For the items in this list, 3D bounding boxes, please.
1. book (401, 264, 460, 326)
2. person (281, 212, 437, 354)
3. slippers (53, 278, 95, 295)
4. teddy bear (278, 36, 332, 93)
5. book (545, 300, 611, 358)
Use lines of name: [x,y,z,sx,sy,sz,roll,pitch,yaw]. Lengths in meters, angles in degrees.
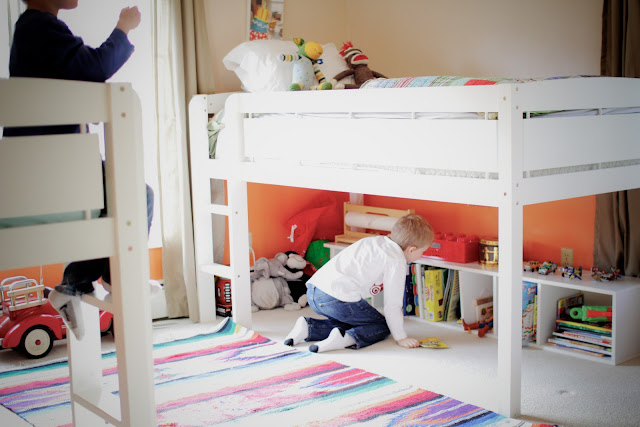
book: [0.847,0.511,3.579,0.382,0.463,0.491,4,6,30]
person: [0.329,0.367,3.396,1.011,0.963,0.754,4,15,-26]
slippers: [-0.986,0.297,1.989,0.191,0.078,0.063,2,4,-38]
teddy bear: [-0.074,-1.024,3.300,0.351,0.380,0.291,-3,10,-39]
book: [1.619,0.717,2.948,0.268,0.128,0.370,9,14,33]
